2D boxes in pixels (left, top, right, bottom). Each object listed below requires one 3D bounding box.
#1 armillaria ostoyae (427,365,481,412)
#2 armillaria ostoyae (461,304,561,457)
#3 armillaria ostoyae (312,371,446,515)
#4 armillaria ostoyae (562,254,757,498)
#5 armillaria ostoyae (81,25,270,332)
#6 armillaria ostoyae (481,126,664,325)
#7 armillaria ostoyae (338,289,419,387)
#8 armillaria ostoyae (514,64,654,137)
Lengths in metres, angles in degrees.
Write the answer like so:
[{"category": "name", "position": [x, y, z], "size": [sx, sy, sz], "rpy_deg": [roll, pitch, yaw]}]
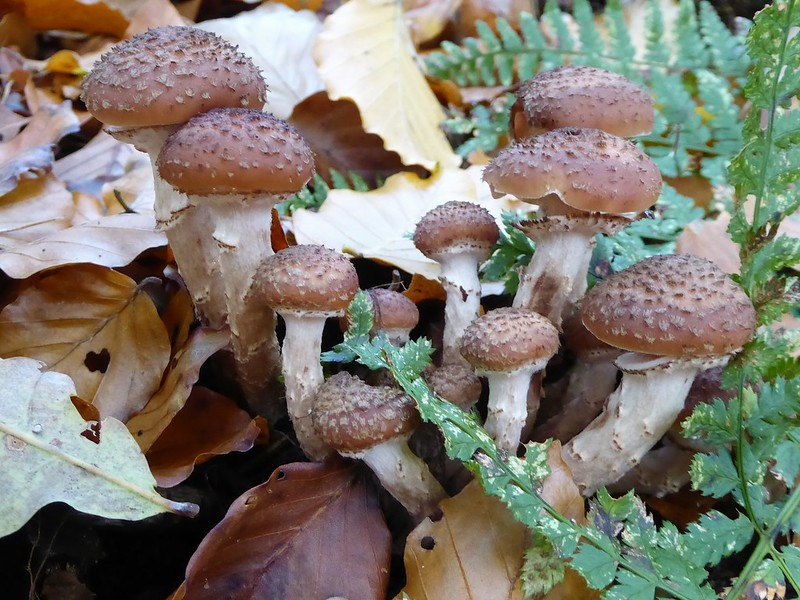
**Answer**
[{"category": "armillaria ostoyae", "position": [0.189, 0.263, 2.610], "size": [0.146, 0.150, 0.150], "rpy_deg": [14, 2, 14]}, {"category": "armillaria ostoyae", "position": [0.322, 0.232, 2.562], "size": [0.251, 0.388, 0.329], "rpy_deg": [26, 58, 27]}, {"category": "armillaria ostoyae", "position": [-0.035, 0.455, 2.532], "size": [0.506, 0.357, 0.254], "rpy_deg": [25, 58, 26]}, {"category": "armillaria ostoyae", "position": [0.798, 0.242, 2.446], "size": [0.476, 0.843, 0.455], "rpy_deg": [13, 34, 2]}, {"category": "armillaria ostoyae", "position": [-0.630, -0.423, 2.709], "size": [0.541, 0.865, 0.516], "rpy_deg": [-26, 51, -13]}, {"category": "armillaria ostoyae", "position": [0.546, -0.238, 2.677], "size": [0.489, 0.684, 0.526], "rpy_deg": [-14, 26, -38]}, {"category": "armillaria ostoyae", "position": [-0.012, 0.121, 2.758], "size": [0.303, 0.394, 0.304], "rpy_deg": [7, 9, 5]}, {"category": "armillaria ostoyae", "position": [0.600, -0.628, 2.680], "size": [0.459, 0.213, 0.264], "rpy_deg": [2, 51, 11]}]
